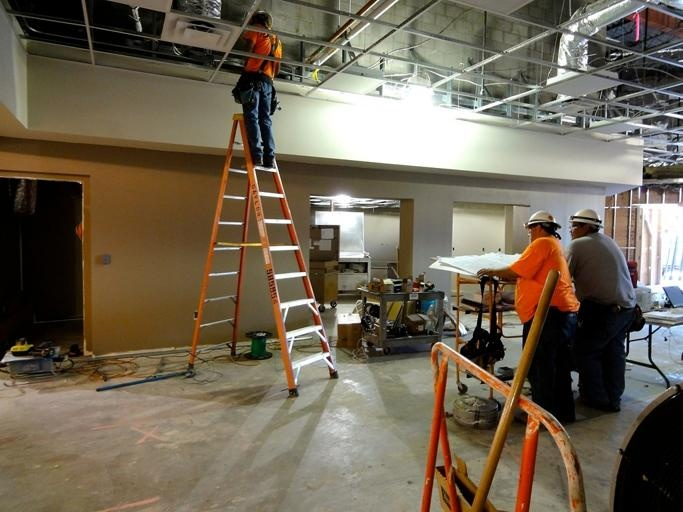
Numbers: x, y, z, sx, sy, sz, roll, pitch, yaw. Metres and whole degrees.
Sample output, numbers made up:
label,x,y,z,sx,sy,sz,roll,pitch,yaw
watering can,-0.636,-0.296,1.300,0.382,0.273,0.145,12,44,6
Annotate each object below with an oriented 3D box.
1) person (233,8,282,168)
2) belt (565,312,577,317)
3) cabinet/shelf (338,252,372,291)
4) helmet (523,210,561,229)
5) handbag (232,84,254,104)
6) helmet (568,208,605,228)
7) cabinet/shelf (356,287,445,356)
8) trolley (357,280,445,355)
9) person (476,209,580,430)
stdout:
label,x,y,z,sx,sy,sz,roll,pitch,yaw
person,-0.956,-1.930,5.514,0.522,1.716,0.707,5,14,20
belt,2.257,0.559,4.594,0.080,0.060,0.082,0,2,35
cabinet/shelf,0.265,0.341,10.536,1.007,0.972,0.734,1,5,2
helmet,2.065,-0.357,4.698,0.321,0.155,0.308,0,3,-37
handbag,-1.113,-1.832,5.366,0.179,0.252,0.107,3,10,23
helmet,2.627,-0.410,5.031,0.270,0.143,0.220,2,0,32
cabinet/shelf,0.855,0.904,6.800,1.015,0.870,1.010,-2,4,-21
trolley,0.856,0.915,6.788,1.142,0.995,0.917,-2,13,-10
person,1.957,0.742,4.609,0.851,1.880,0.497,4,14,16
